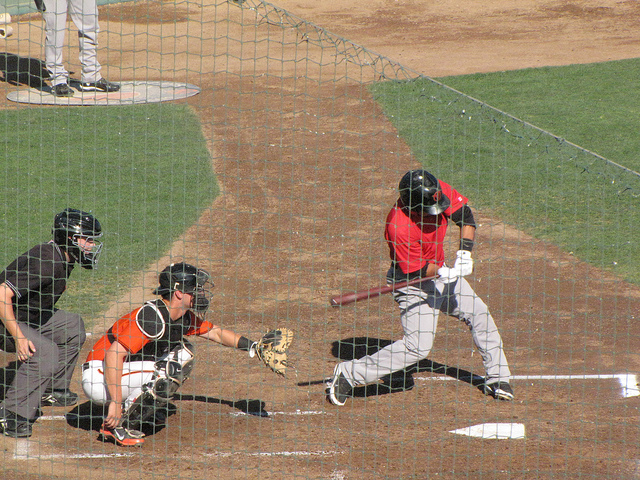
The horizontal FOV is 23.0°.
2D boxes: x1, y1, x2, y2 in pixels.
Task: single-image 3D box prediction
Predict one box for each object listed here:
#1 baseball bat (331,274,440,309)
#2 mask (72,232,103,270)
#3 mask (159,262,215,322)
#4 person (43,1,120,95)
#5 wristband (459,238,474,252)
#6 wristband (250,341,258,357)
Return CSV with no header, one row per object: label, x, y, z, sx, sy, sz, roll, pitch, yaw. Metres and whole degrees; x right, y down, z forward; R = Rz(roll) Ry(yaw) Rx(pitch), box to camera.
baseball bat,0.863,0.662,20.198,1.588,0.155,0.161,-11,7,-15
mask,-2.750,0.100,19.345,0.398,0.239,0.311,36,10,8
mask,-1.581,0.611,19.153,0.801,0.738,0.590,0,14,-5
person,-3.998,-3.281,25.981,1.178,1.588,0.694,3,20,-11
wristband,1.825,0.036,19.745,0.155,0.157,0.151,12,-22,1
wristband,-0.815,1.333,19.276,0.065,0.196,0.081,8,-8,-7
